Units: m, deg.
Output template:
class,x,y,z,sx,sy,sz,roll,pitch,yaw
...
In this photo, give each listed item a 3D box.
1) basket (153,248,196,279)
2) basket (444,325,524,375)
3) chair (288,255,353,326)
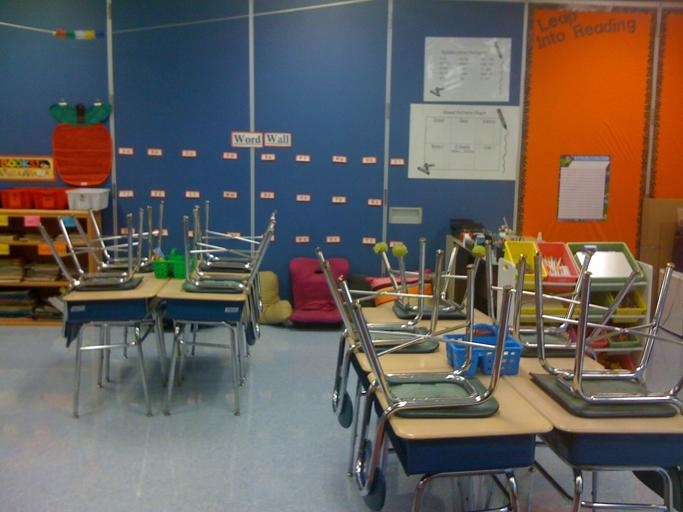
class,x,y,z,sx,sy,sz,roll,pitch,yaw
basket,-1.314,0.068,4.550,0.262,0.184,0.375,1,4,-4
basket,0.711,0.473,2.916,0.256,0.124,0.340,0,6,0
chair,-0.215,0.349,6.047,0.718,0.771,0.608,0,5,-4
